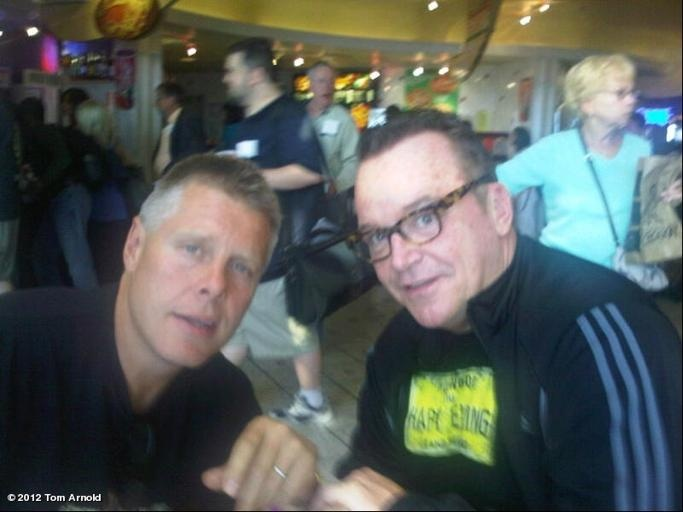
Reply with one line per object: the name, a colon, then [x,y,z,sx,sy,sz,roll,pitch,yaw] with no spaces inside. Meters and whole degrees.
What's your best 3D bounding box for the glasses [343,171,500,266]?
glasses: [0.114,-0.044,0.857,0.159,0.042,0.155,-36,9,-31]
